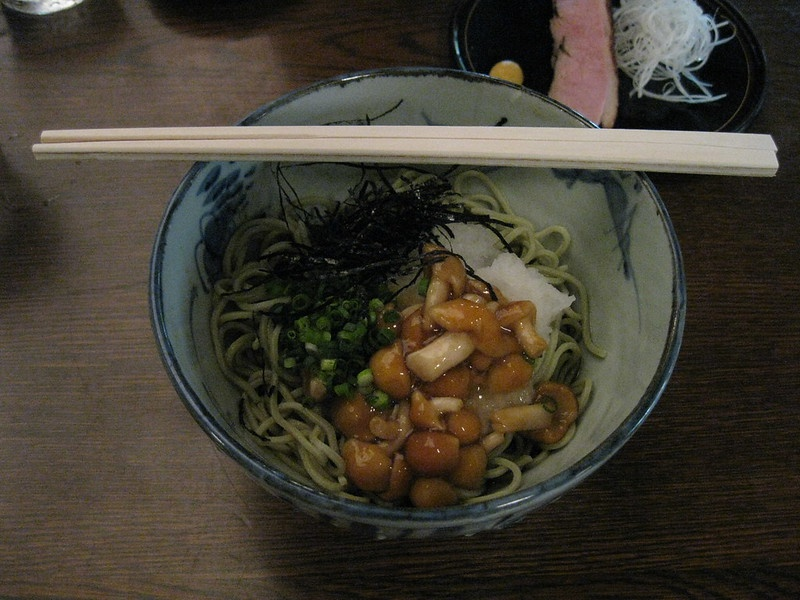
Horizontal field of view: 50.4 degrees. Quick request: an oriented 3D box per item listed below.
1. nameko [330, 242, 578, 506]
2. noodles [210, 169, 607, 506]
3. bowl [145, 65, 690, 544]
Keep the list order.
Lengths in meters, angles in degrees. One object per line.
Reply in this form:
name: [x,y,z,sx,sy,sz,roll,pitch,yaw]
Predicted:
nameko: [0.229,0.322,2.942,0.757,0.300,0.905,27,70,10]
noodles: [-0.060,0.039,3.188,1.250,0.585,1.293,3,88,-14]
bowl: [0.145,-0.107,2.949,1.711,0.662,1.654,2,73,-6]
